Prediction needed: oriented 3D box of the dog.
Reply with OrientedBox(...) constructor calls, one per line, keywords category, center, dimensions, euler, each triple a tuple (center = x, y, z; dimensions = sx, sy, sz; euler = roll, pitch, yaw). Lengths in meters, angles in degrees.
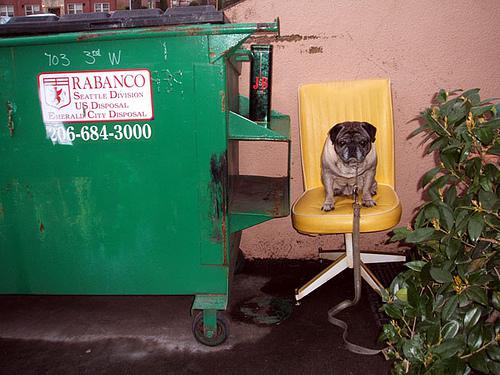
OrientedBox(category="dog", center=(0.663, -0.170, 2.956), dimensions=(0.465, 0.649, 0.566), euler=(0, 26, 11))
